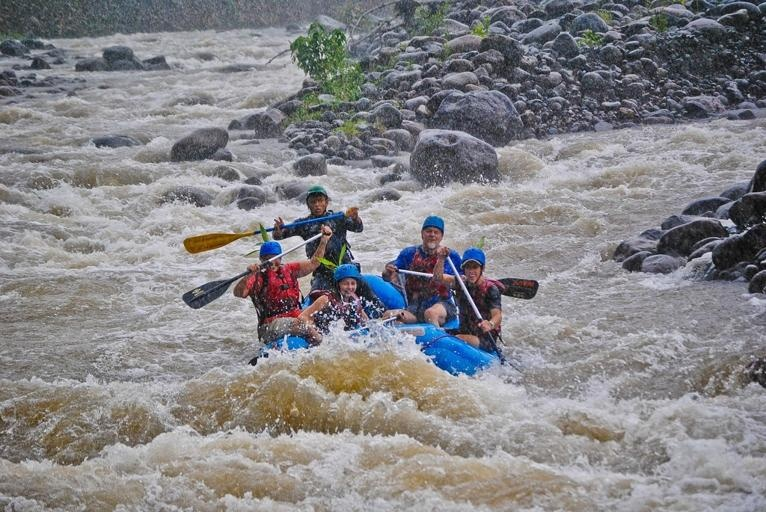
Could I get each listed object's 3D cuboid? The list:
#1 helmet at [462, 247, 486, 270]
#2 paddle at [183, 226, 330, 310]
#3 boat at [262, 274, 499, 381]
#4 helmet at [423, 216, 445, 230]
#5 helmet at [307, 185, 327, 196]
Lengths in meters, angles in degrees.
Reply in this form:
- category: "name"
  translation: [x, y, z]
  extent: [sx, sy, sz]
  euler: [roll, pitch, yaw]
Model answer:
- category: "helmet"
  translation: [1.727, 0.080, 21.565]
  extent: [0.432, 0.405, 0.290]
  euler: [0, 16, 0]
- category: "paddle"
  translation: [-2.539, 0.317, 22.492]
  extent: [3.814, 0.568, 0.181]
  euler: [-24, -21, -2]
- category: "boat"
  translation: [0.260, 1.516, 21.324]
  extent: [3.295, 0.982, 2.248]
  euler: [12, 18, -3]
- category: "helmet"
  translation: [0.982, -0.633, 22.060]
  extent: [0.344, 0.230, 0.324]
  euler: [4, -2, -1]
- category: "helmet"
  translation: [-1.290, -1.282, 22.117]
  extent: [0.370, 0.191, 0.213]
  euler: [-9, 18, -31]
